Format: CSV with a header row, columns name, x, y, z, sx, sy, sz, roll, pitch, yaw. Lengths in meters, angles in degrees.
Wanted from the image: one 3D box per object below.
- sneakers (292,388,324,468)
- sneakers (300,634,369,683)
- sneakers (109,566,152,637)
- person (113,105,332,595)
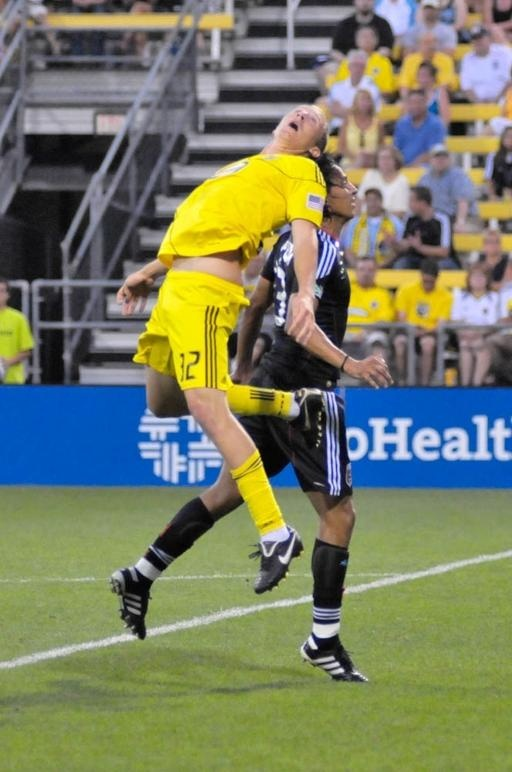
name,x,y,z,sx,sy,sz,roll,pitch,yaw
sneakers,0.167,0.156,5.537,0.169,0.307,0.225,0,5,-4
sneakers,0.281,0.979,5.581,0.240,0.177,0.126,1,3,0
sneakers,-0.461,0.799,5.784,0.103,0.308,0.155,-24,-5,-17
person,-0.118,-0.195,5.684,0.741,1.707,0.555,2,4,12
